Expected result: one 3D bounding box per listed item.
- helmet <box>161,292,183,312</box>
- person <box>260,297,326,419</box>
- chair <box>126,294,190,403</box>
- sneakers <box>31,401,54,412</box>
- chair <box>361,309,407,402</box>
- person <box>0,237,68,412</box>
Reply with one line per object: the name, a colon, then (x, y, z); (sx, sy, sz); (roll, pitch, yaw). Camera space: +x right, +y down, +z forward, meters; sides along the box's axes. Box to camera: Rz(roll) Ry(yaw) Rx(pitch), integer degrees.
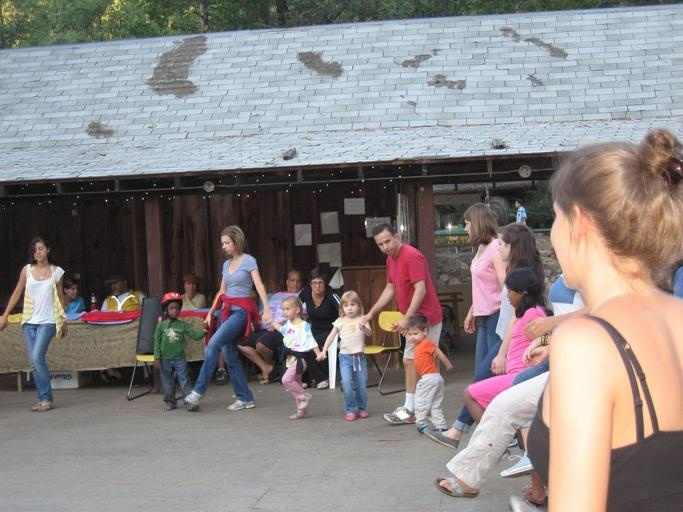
helmet: (-2.184, 0.598, 13.171); (0.273, 0.253, 0.219); (-13, -11, 33)
person: (-0.583, 1.341, 13.078); (0.752, 1.820, 0.891); (7, -19, -23)
chair: (-2.563, 1.289, 13.806); (0.822, 1.273, 0.908); (15, -18, -10)
sneakers: (-3.806, 1.929, 12.991); (0.273, 0.108, 0.211); (-4, 7, -17)
chair: (0.538, 1.301, 13.558); (0.763, 1.023, 0.764); (-6, 4, -13)
person: (-3.839, 0.864, 13.094); (0.567, 2.196, 0.564); (-8, 9, -39)
